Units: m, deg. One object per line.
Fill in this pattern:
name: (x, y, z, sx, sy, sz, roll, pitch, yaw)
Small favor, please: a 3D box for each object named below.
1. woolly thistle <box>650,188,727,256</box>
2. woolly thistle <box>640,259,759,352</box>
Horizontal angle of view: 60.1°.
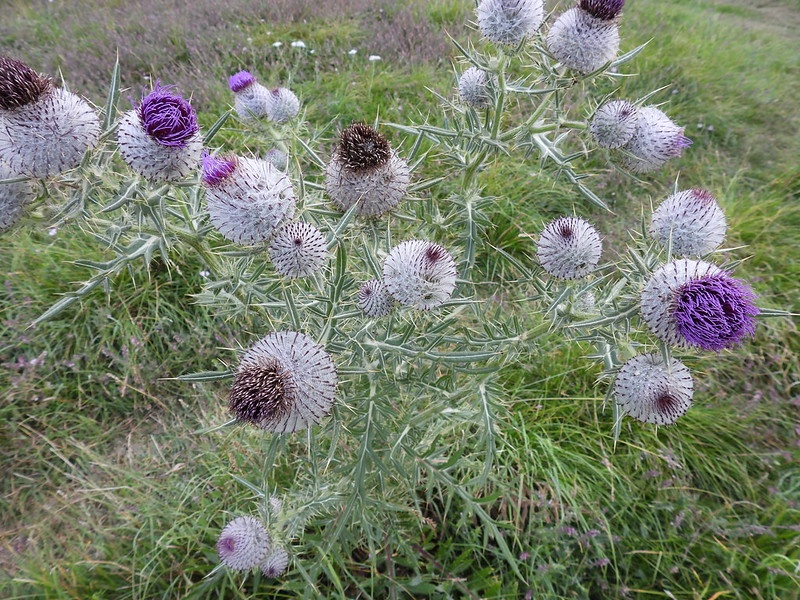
woolly thistle: (2.618, -0.674, 6.244, 0.564, 0.625, 0.611, -8, 51, 12)
woolly thistle: (2.532, 0.069, 5.977, 0.769, 0.449, 0.779, 39, 95, 11)
